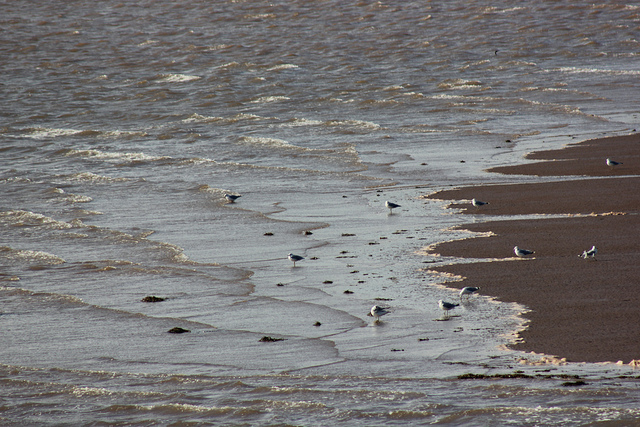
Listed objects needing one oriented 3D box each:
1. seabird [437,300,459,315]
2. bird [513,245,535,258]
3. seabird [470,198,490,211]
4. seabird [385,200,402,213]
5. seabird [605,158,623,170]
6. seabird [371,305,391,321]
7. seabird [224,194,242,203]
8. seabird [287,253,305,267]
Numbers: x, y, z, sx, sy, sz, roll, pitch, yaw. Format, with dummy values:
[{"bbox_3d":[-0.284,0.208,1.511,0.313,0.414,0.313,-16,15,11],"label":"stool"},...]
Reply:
[{"bbox_3d":[4.516,3.298,40.166,0.631,0.488,0.339,6,46,15],"label":"seabird"},{"bbox_3d":[7.731,1.441,42.675,0.724,0.330,0.456,-1,37,5],"label":"bird"},{"bbox_3d":[6.589,-0.444,46.776,0.392,0.432,0.672,27,47,32],"label":"seabird"},{"bbox_3d":[3.097,-0.356,47.358,0.653,0.574,0.637,-6,39,2],"label":"seabird"},{"bbox_3d":[12.908,-2.262,50.011,0.582,0.357,0.729,23,42,32],"label":"seabird"},{"bbox_3d":[2.095,3.508,40.110,0.617,0.464,0.456,3,42,12],"label":"seabird"},{"bbox_3d":[-3.872,-0.741,50.535,0.586,0.331,0.681,-16,35,-13],"label":"seabird"},{"bbox_3d":[-0.893,1.715,43.541,0.558,0.434,0.407,-9,41,-2],"label":"seabird"}]
